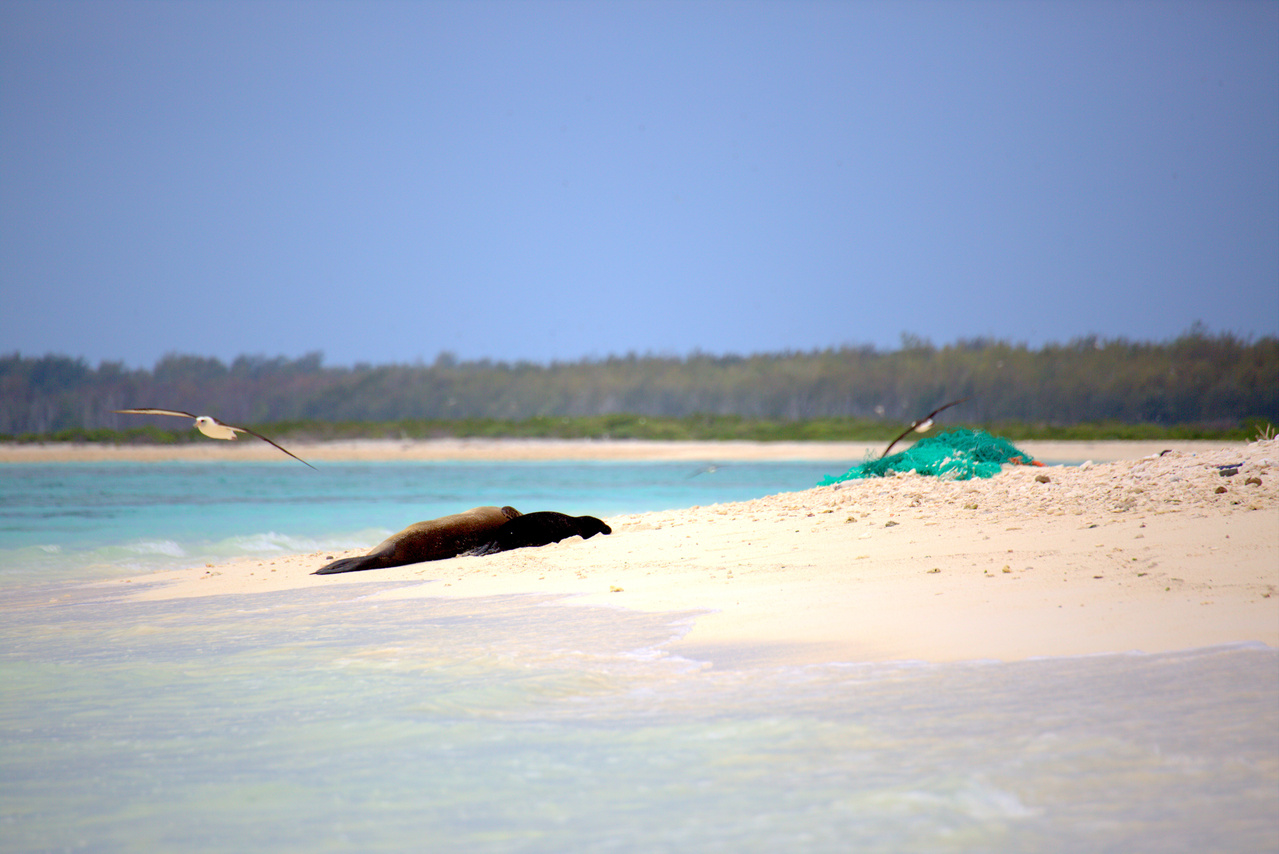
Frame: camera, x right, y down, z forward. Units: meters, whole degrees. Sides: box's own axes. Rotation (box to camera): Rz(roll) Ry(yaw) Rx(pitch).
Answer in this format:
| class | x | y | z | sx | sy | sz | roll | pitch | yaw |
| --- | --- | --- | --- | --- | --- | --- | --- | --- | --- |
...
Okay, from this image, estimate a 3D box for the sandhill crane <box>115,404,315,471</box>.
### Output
| class | x | y | z | sx | sy | sz | roll | pitch | yaw |
| --- | --- | --- | --- | --- | --- | --- | --- | --- | --- |
| sandhill crane | -7.345 | -0.001 | 35.043 | 3.320 | 0.304 | 1.498 | 15 | -6 | 0 |
